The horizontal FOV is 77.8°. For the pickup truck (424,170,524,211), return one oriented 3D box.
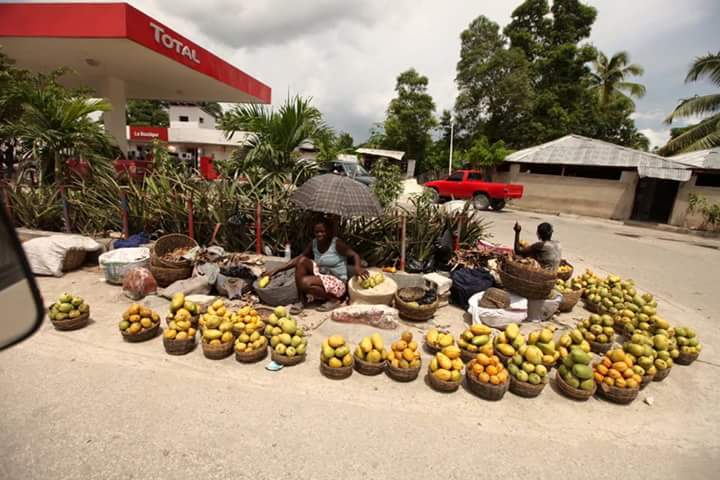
[{"bbox_3d":[5.443,-2.623,22.171,4.597,1.801,1.956,12,14,42],"label":"pickup truck"}]

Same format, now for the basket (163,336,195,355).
[{"bbox_3d":[-3.044,1.729,7.446,0.321,0.173,0.362,3,-4,5],"label":"basket"}]

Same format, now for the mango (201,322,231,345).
[{"bbox_3d":[-2.443,1.557,7.585,0.427,0.187,0.296,2,-25,40],"label":"mango"}]

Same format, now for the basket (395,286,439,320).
[{"bbox_3d":[1.092,1.263,8.774,0.807,0.585,0.556,3,13,-5],"label":"basket"}]

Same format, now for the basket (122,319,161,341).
[{"bbox_3d":[-3.786,1.572,7.763,0.599,0.284,0.272,-4,15,-29],"label":"basket"}]

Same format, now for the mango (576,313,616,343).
[{"bbox_3d":[4.404,1.599,8.236,0.434,0.321,0.605,5,-4,18],"label":"mango"}]

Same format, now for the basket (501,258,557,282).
[{"bbox_3d":[3.172,0.577,8.383,0.547,0.213,0.542,6,7,-6],"label":"basket"}]

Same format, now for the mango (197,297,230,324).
[{"bbox_3d":[-2.574,1.268,7.859,0.451,0.159,0.464,16,48,38],"label":"mango"}]

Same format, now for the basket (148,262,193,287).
[{"bbox_3d":[-3.965,0.634,9.257,0.604,0.358,0.564,3,8,14],"label":"basket"}]

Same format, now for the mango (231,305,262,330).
[{"bbox_3d":[-2.010,1.367,7.921,0.365,0.248,0.434,5,4,-11],"label":"mango"}]

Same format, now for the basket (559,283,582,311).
[{"bbox_3d":[4.394,1.178,9.416,0.506,0.410,0.562,1,8,4],"label":"basket"}]

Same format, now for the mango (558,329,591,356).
[{"bbox_3d":[3.693,1.725,7.719,0.460,0.180,0.478,3,40,-11],"label":"mango"}]

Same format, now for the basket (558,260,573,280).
[{"bbox_3d":[4.659,0.680,10.184,0.479,0.266,0.432,0,17,11],"label":"basket"}]

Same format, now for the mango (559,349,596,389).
[{"bbox_3d":[3.533,2.116,7.317,0.467,0.653,0.293,-12,29,-13],"label":"mango"}]

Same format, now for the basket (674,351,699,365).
[{"bbox_3d":[5.916,2.114,8.084,0.274,0.213,0.271,-5,9,-39],"label":"basket"}]

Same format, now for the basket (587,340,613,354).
[{"bbox_3d":[4.402,1.890,8.179,0.287,0.130,0.295,4,15,31],"label":"basket"}]

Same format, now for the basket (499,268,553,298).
[{"bbox_3d":[3.124,0.828,8.503,0.621,0.302,0.646,3,3,-25],"label":"basket"}]

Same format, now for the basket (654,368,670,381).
[{"bbox_3d":[5.216,2.327,7.774,0.222,0.216,0.224,-4,9,-37],"label":"basket"}]

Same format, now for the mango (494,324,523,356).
[{"bbox_3d":[2.537,1.735,7.653,0.393,0.235,0.559,11,50,36],"label":"mango"}]

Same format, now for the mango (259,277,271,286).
[{"bbox_3d":[-1.874,0.797,8.805,0.221,0.174,0.184,0,14,-16],"label":"mango"}]

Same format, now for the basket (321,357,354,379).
[{"bbox_3d":[-0.414,2.115,7.408,0.575,0.275,0.248,5,13,4],"label":"basket"}]

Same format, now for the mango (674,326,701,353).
[{"bbox_3d":[5.936,1.767,8.150,0.436,0.183,0.451,38,39,7],"label":"mango"}]

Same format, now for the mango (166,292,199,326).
[{"bbox_3d":[-3.143,1.199,7.924,0.437,0.304,0.569,-24,33,-21],"label":"mango"}]

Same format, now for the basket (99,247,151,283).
[{"bbox_3d":[-4.896,0.542,9.301,0.931,0.709,0.548,-3,15,-28],"label":"basket"}]

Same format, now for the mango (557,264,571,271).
[{"bbox_3d":[4.689,0.616,10.261,0.270,0.114,0.281,1,14,18],"label":"mango"}]

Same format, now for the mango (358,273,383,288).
[{"bbox_3d":[0.208,0.795,8.871,0.413,0.167,0.251,-18,24,-38],"label":"mango"}]

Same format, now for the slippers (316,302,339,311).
[{"bbox_3d":[-0.628,1.280,8.835,0.357,0.100,0.197,-3,9,-35],"label":"slippers"}]

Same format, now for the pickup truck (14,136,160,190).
[{"bbox_3d":[-7.467,-2.051,11.834,3.836,1.116,2.788,3,13,-4],"label":"pickup truck"}]

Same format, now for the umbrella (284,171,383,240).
[{"bbox_3d":[-0.433,-0.917,8.829,1.779,0.714,0.897,3,13,-2],"label":"umbrella"}]

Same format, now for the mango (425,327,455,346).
[{"bbox_3d":[1.364,1.707,7.826,0.307,0.195,0.343,0,5,-10],"label":"mango"}]

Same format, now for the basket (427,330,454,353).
[{"bbox_3d":[1.349,1.713,7.790,0.372,0.261,0.411,-2,6,-19],"label":"basket"}]
